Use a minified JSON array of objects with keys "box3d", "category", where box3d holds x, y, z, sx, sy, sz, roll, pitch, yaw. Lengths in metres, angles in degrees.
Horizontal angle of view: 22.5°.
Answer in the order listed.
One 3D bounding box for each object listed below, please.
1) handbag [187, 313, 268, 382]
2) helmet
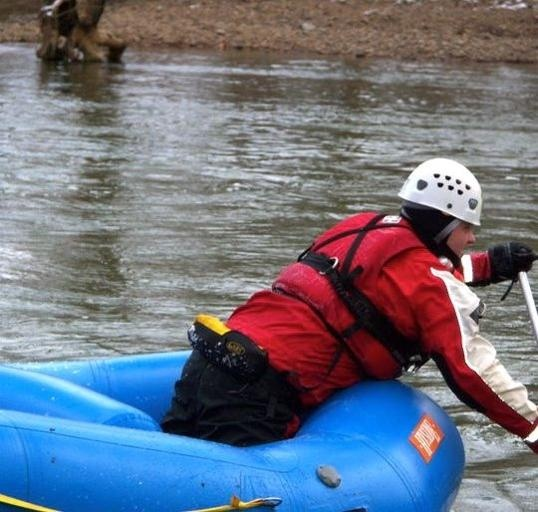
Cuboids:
[{"box3d":[-0.379,0.709,10.564,0.672,0.360,0.261,34,37,13],"category":"handbag"},{"box3d":[1.371,-0.508,10.821,0.670,0.367,0.472,20,-2,-4],"category":"helmet"}]
